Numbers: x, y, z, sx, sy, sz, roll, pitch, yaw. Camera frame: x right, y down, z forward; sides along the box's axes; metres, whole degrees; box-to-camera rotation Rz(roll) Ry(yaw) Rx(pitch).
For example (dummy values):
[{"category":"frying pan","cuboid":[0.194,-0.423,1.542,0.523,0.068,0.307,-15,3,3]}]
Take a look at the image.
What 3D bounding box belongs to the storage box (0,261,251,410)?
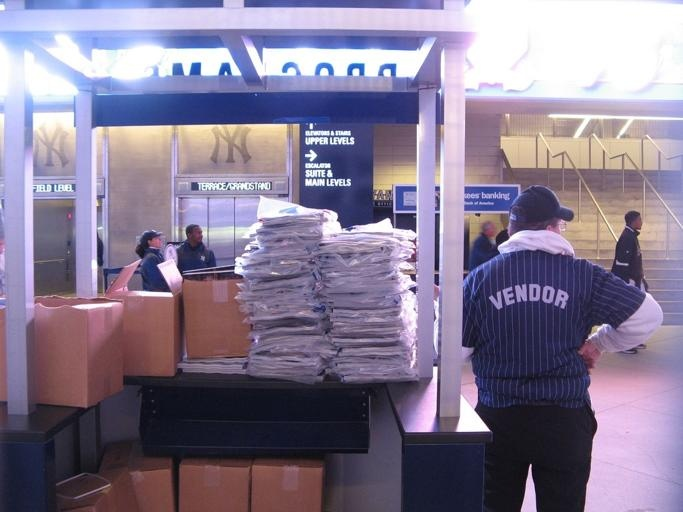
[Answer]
[{"category":"storage box","cuboid":[-1.123,0.412,3.797,1.245,0.690,0.358,0,1,-18]}]
